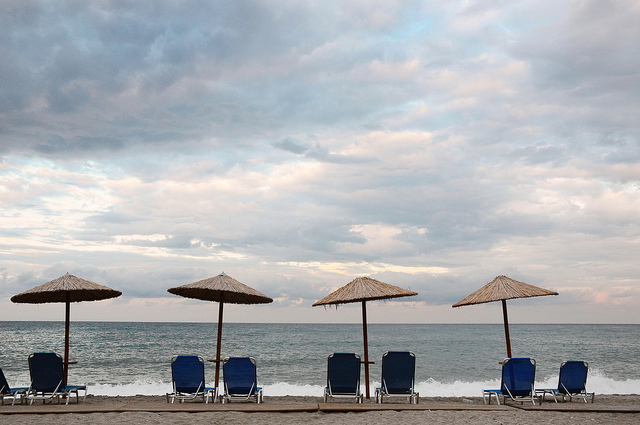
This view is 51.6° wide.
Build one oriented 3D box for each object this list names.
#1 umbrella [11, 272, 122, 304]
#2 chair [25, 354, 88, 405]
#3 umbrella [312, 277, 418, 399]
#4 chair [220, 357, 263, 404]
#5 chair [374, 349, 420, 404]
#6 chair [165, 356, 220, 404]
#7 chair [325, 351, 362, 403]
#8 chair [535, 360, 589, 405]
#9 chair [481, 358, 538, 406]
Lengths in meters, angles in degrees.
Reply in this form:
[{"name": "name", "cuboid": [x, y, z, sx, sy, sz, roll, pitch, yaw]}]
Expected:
[{"name": "umbrella", "cuboid": [-9.294, 2.820, 24.290, 3.229, 1.016, 2.067, 4, -11, -21]}, {"name": "chair", "cuboid": [-9.675, 6.025, 23.980, 1.813, 1.767, 1.556, 3, -12, -17]}, {"name": "umbrella", "cuboid": [1.634, 4.485, 23.639, 2.373, 4.409, 2.853, 6, -13, -29]}, {"name": "chair", "cuboid": [-2.856, 6.038, 23.806, 1.381, 1.621, 0.667, 1, -11, -8]}, {"name": "chair", "cuboid": [2.749, 6.004, 24.073, 1.537, 1.847, 1.080, -1, -11, 4]}, {"name": "chair", "cuboid": [-4.599, 6.053, 24.008, 1.796, 1.672, 1.383, 2, -11, -11]}, {"name": "chair", "cuboid": [0.873, 6.261, 24.318, 1.350, 1.425, 2.119, 1, -49, 2]}, {"name": "chair", "cuboid": [9.211, 6.341, 24.772, 1.517, 1.538, 2.045, -7, -13, 32]}, {"name": "chair", "cuboid": [7.021, 6.124, 23.953, 1.726, 1.697, 1.636, -1, -11, 4]}]
